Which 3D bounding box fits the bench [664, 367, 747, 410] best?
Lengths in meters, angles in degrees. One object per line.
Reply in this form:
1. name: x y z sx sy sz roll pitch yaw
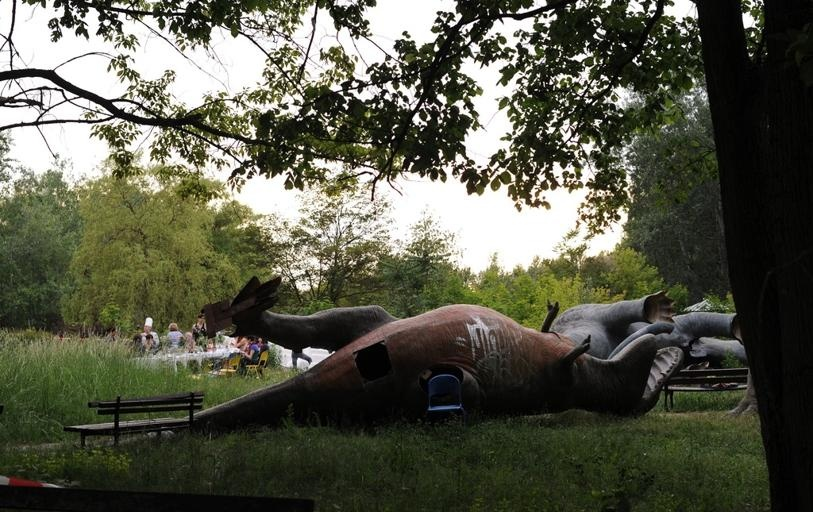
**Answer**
1. bench: 6.998 3.097 19.685 2.006 1.107 1.097 1 7 3
